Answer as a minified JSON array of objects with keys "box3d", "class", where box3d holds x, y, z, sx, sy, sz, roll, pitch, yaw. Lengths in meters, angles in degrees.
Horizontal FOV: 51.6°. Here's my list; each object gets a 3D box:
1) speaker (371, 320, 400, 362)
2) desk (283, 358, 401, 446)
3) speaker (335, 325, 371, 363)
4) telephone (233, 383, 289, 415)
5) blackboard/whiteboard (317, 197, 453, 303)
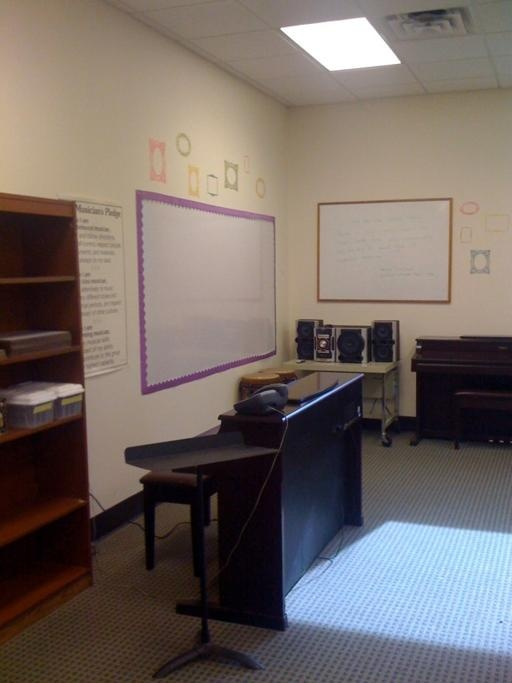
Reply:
[{"box3d":[1.239,0.012,5.183,0.241,0.399,0.149,-1,-2,6],"class":"speaker"},{"box3d":[1.081,0.545,5.335,0.750,0.569,0.750,-2,6,26],"class":"desk"},{"box3d":[0.936,0.026,5.118,0.308,0.354,0.338,0,0,17],"class":"speaker"},{"box3d":[0.005,0.201,2.012,0.120,0.085,0.127,0,2,29],"class":"telephone"},{"box3d":[1.363,-0.945,5.394,0.997,0.841,0.020,1,5,21],"class":"blackboard/whiteboard"}]
